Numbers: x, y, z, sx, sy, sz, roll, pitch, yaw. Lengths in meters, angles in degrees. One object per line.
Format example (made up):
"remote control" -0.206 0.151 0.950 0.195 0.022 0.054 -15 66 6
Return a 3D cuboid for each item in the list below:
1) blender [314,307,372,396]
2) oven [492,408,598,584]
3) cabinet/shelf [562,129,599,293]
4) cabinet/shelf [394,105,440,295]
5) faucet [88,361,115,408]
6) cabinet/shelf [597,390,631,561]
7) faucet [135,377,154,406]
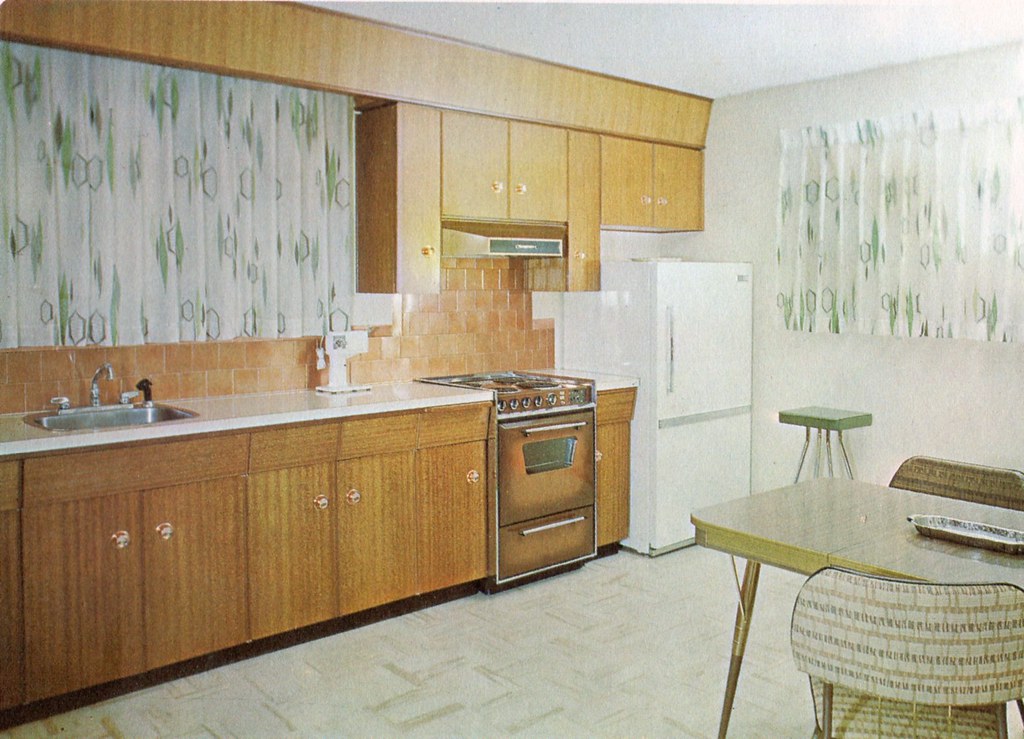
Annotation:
"blender" -0.955 -0.108 4.586 0.280 0.474 0.219 0 9 -28
"oven" 0.074 0.734 5.101 0.762 1.021 0.744 -5 10 -28
"cabinet/shelf" 0.477 -1.058 5.337 0.314 1.086 0.086 -9 13 -38
"cabinet/shelf" -0.538 -0.993 4.607 0.344 1.065 0.130 -6 12 -30
"faucet" -2.070 0.075 4.009 0.125 0.210 0.147 -5 12 -28
"cabinet/shelf" 0.681 0.627 5.242 0.106 1.007 0.346 10 14 43
"faucet" -1.915 0.113 4.119 0.118 0.173 0.069 -6 14 -39
